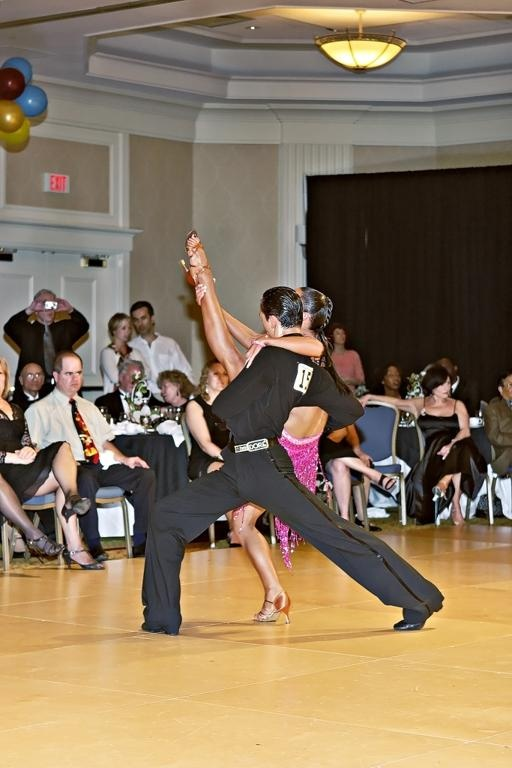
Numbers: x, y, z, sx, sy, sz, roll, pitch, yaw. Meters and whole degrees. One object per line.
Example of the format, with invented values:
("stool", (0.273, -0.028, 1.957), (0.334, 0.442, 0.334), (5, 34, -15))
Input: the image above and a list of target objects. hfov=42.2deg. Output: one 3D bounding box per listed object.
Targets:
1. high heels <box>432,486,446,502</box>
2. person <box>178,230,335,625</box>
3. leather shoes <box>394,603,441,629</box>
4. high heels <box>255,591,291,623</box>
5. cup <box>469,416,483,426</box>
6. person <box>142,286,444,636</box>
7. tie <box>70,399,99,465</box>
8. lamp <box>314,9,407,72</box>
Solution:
("high heels", (1.688, 1.019, 6.147), (0.106, 0.156, 0.082), (11, 25, 35))
("person", (-0.015, 0.221, 2.868), (0.657, 1.601, 0.463), (0, -2, 20))
("leather shoes", (0.632, 0.950, 2.680), (0.085, 0.092, 0.246), (-5, -9, 23))
("high heels", (0.042, 0.980, 2.928), (0.078, 0.100, 0.226), (0, -4, -36))
("cup", (2.261, 0.385, 6.829), (0.105, 0.072, 0.103), (-1, 3, 0))
("person", (0.128, 0.438, 2.614), (1.127, 1.122, 0.466), (0, -2, -12))
("tie", (-1.234, 0.353, 4.806), (0.212, 0.465, 0.141), (0, -2, -19))
("lamp", (1.184, -3.875, 7.522), (1.043, 0.666, 0.969), (1, 15, -5))
